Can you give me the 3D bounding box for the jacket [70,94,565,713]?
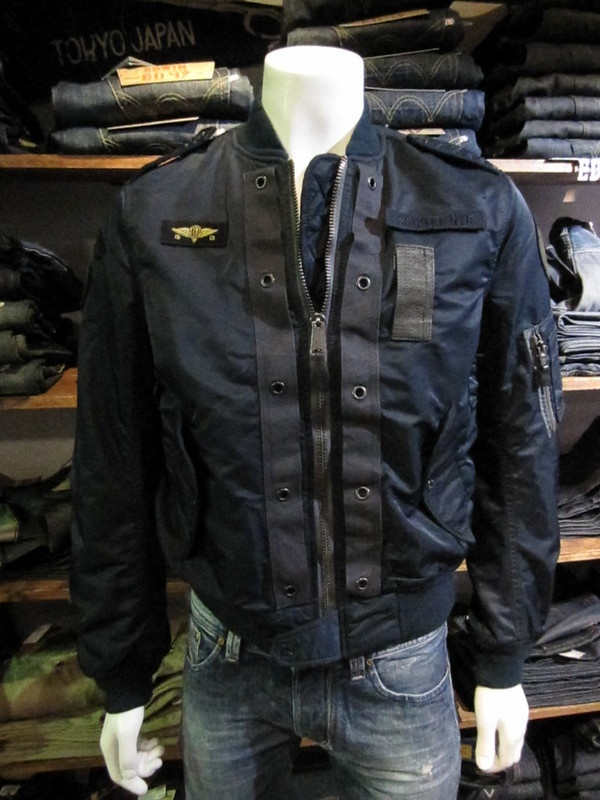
[{"bbox_3d":[0.012,0.024,1.185,0.765,0.919,0.262,-5,10,11],"label":"jacket"}]
